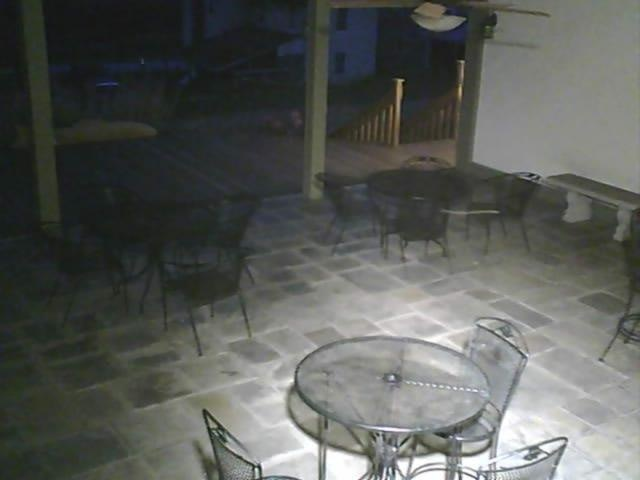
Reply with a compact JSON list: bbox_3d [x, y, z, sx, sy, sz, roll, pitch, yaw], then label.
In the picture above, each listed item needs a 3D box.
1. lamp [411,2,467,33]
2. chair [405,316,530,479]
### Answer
[{"bbox_3d":[1.406,-2.736,6.895,0.666,0.315,0.342,-5,25,-11],"label":"lamp"},{"bbox_3d":[1.035,1.143,3.923,0.681,0.966,0.618,-10,35,-20],"label":"chair"}]
